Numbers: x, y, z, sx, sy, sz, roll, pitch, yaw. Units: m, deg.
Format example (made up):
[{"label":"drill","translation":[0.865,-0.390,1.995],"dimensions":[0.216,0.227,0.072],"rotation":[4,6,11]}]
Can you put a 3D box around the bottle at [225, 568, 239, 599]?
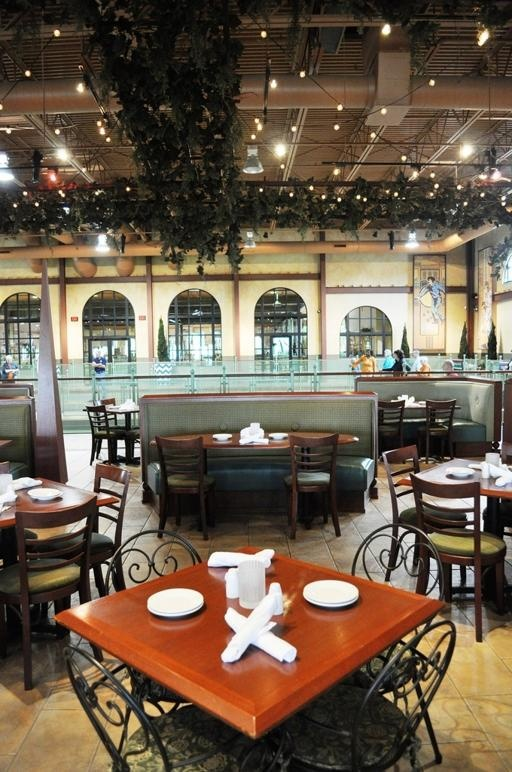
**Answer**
[{"label":"bottle","translation":[-0.073,0.608,1.710],"dimensions":[0.039,0.097,0.077],"rotation":[-3,4,-3]}]

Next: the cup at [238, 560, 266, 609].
[{"label":"cup","translation":[-0.039,0.590,1.656],"dimensions":[0.106,0.124,0.109],"rotation":[-3,-20,-1]}]

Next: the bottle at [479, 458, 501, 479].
[{"label":"bottle","translation":[1.436,0.502,3.447],"dimensions":[0.099,0.069,0.102],"rotation":[10,-1,0]}]

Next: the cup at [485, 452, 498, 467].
[{"label":"cup","translation":[1.508,0.467,3.607],"dimensions":[0.088,0.099,0.090],"rotation":[0,-3,0]}]
